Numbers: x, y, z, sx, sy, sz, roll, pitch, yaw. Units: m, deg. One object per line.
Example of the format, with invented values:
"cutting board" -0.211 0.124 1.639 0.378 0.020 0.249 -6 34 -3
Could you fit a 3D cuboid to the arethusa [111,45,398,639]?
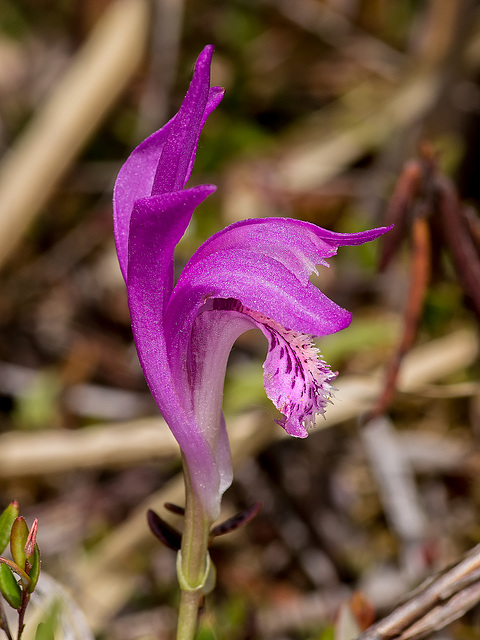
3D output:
"arethusa" 0.001 0.042 0.888 0.258 0.735 0.369 -13 -3 -39
